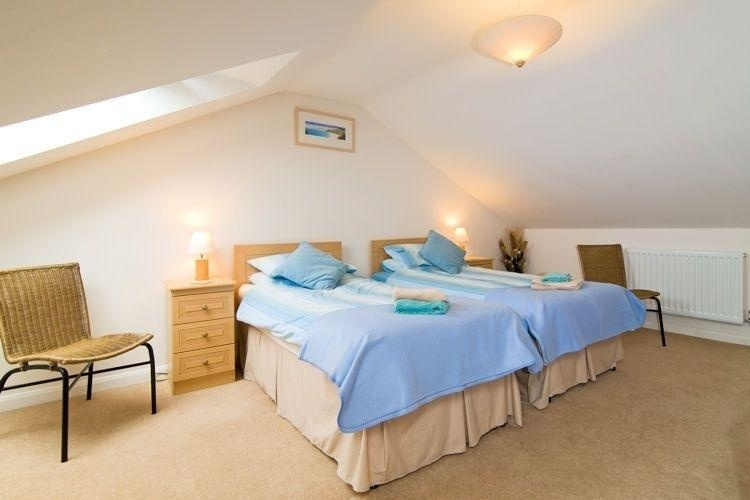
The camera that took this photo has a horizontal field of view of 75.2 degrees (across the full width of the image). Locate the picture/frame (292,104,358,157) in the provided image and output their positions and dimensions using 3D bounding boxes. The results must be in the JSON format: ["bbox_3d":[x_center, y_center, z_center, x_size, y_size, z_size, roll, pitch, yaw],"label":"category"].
[{"bbox_3d":[-0.621,-1.386,5.659,0.757,0.405,0.031,1,-2,-35],"label":"picture/frame"}]

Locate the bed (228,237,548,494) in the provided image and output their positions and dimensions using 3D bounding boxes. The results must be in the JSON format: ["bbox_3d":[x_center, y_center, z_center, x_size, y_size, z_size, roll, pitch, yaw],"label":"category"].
[{"bbox_3d":[-0.207,1.013,4.219,1.222,0.949,1.871,-3,4,-35],"label":"bed"}]

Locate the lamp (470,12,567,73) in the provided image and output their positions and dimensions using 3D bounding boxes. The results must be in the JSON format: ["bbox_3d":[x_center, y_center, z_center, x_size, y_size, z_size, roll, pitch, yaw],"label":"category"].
[{"bbox_3d":[1.131,-1.691,3.916,0.475,0.172,0.487,-14,-23,34],"label":"lamp"}]
